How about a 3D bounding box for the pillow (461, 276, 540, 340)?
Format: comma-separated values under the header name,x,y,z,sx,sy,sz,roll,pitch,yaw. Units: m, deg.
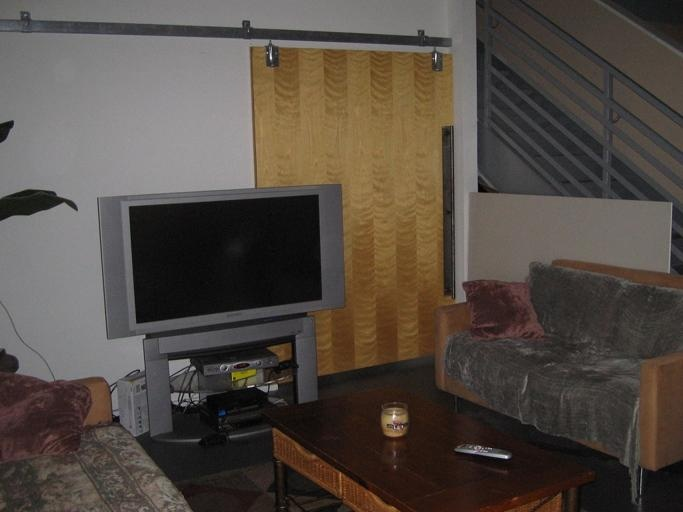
name,x,y,z,sx,sy,sz,roll,pitch,yaw
pillow,1.059,0.357,4.701,0.705,0.175,0.775,-1,28,3
